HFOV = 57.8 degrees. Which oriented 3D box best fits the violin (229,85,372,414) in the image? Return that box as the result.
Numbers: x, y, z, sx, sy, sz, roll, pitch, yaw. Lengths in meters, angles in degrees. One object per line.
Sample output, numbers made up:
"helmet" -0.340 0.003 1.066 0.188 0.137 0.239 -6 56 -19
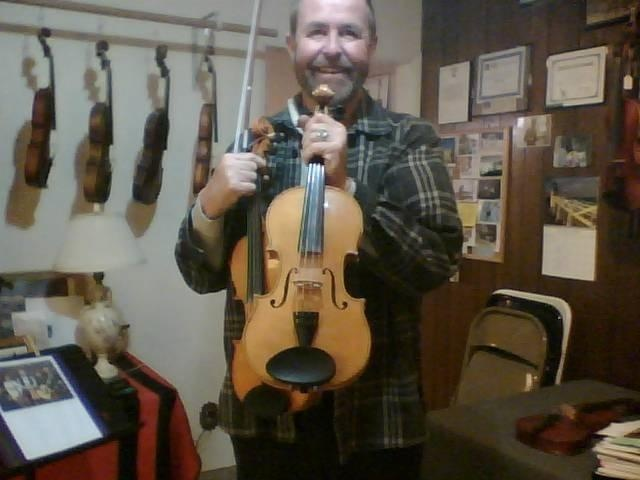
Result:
"violin" -0.043 0.025 1.084 0.283 0.637 0.239 2 7 0
